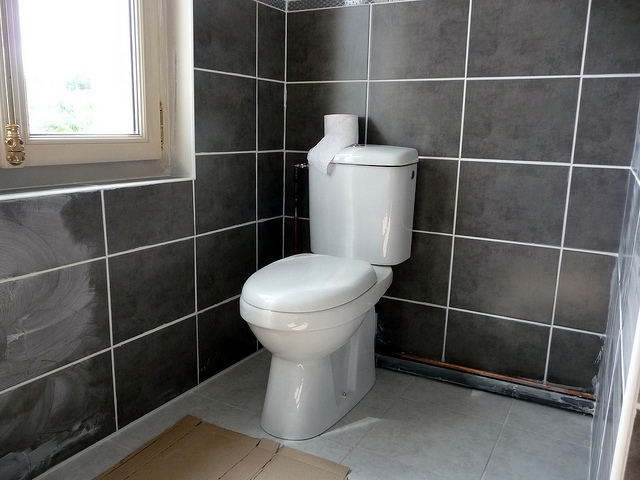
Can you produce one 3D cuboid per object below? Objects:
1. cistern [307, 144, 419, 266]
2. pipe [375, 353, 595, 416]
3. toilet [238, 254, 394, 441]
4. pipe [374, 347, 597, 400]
[{"bbox_3d":[0.185,-0.156,2.115,0.434,0.441,0.258,8,14,30],"label":"cistern"},{"bbox_3d":[0.756,0.642,2.124,0.930,0.099,0.092,9,22,22],"label":"pipe"},{"bbox_3d":[-0.022,0.412,2.032,0.470,0.643,0.695,8,17,26],"label":"toilet"},{"bbox_3d":[0.771,0.601,2.161,1.169,0.050,0.044,10,-1,20],"label":"pipe"}]
